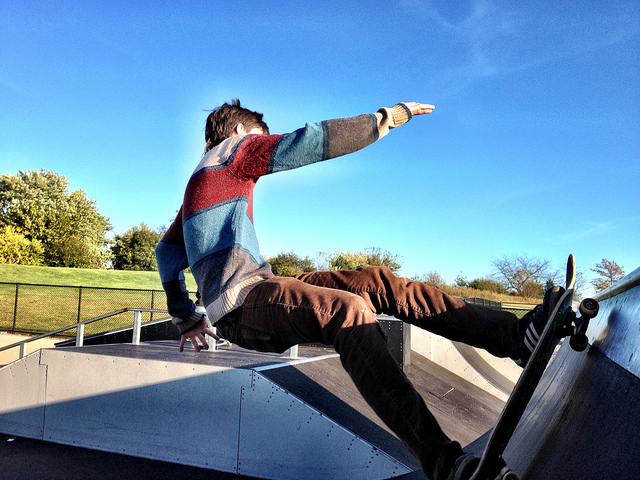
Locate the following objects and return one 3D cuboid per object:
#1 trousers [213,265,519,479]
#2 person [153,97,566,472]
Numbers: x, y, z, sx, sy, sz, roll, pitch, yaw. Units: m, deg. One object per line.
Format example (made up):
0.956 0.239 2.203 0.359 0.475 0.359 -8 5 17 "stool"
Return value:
0.216 0.411 2.029 1.183 0.455 0.959 9 18 24 "trousers"
-0.008 0.096 2.313 1.223 1.284 2.147 3 -2 -37 "person"
